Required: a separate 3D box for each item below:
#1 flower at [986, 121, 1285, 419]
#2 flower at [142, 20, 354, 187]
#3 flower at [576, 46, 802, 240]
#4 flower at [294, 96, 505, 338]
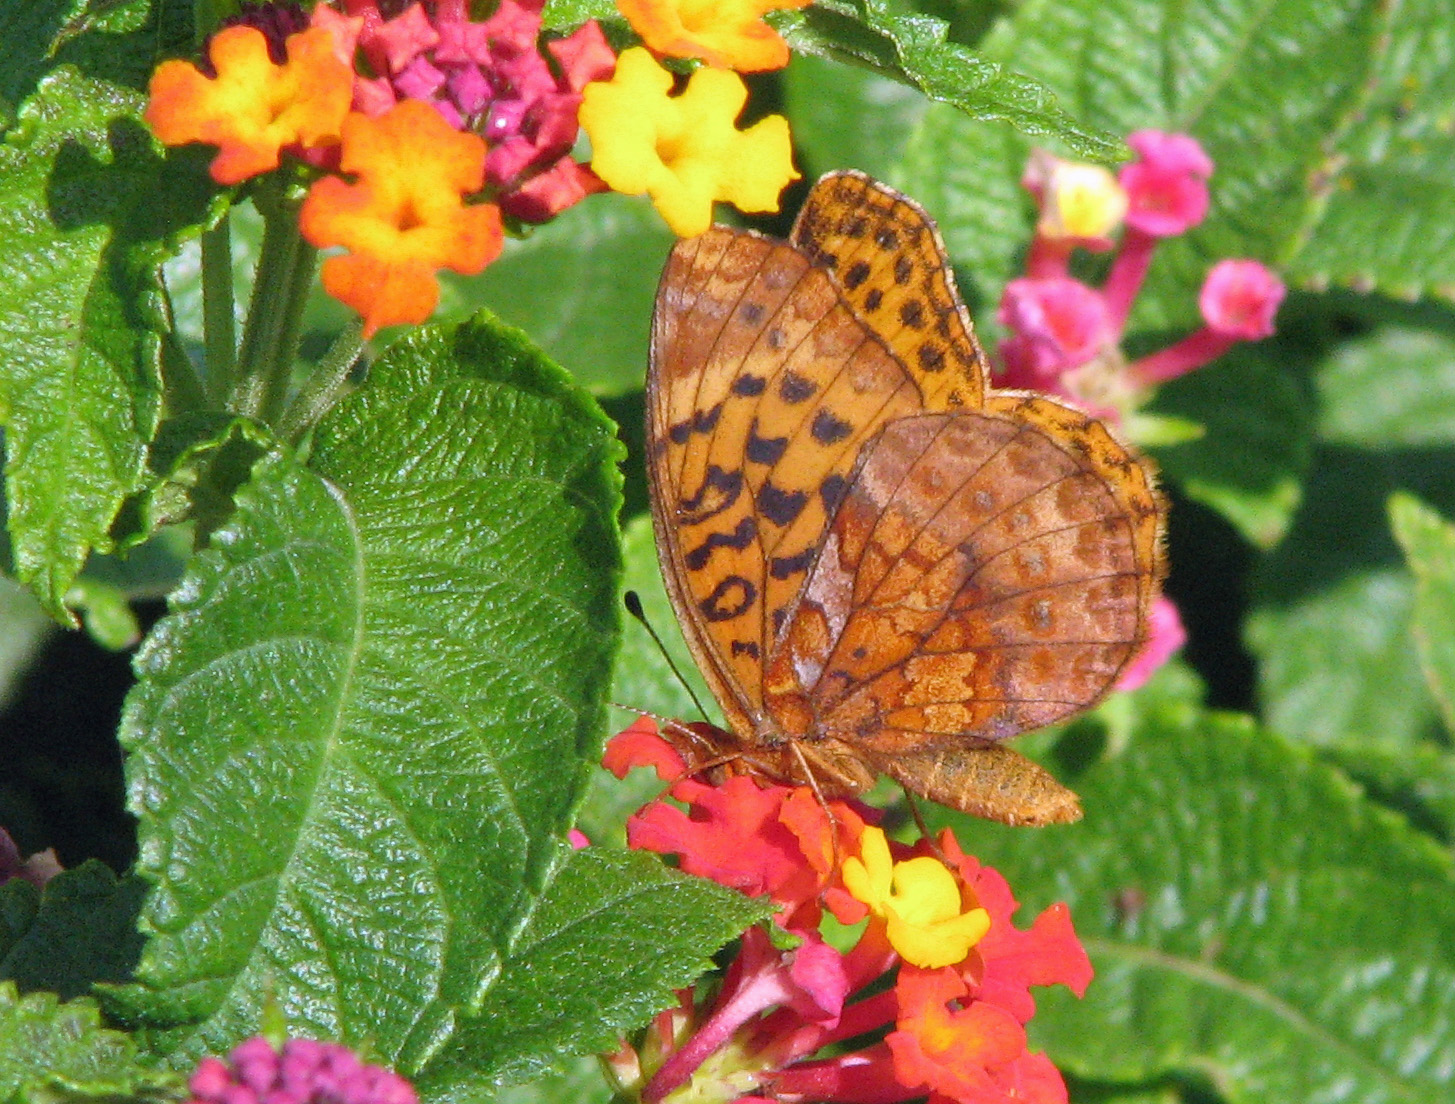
[{"bbox_3d":[0.671,-0.368,3.219,0.488,0.272,0.551,16,-14,11],"label":"flower"},{"bbox_3d":[-0.477,-0.476,1.965,0.158,0.167,0.066,37,37,-53],"label":"flower"},{"bbox_3d":[-0.090,-0.465,2.071,0.216,0.220,0.096,-40,107,-40],"label":"flower"},{"bbox_3d":[-0.340,-0.353,1.987,0.245,0.345,0.074,-9,70,-12],"label":"flower"}]
